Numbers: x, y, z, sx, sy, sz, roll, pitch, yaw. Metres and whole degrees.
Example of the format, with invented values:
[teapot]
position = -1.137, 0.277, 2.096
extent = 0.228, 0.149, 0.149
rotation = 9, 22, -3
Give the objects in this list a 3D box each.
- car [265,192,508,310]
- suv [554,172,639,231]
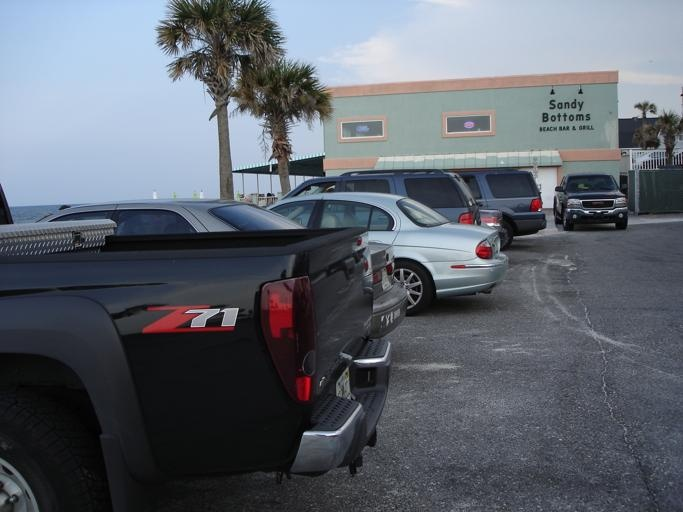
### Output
[car]
position = 0.688, -0.173, 8.037
extent = 3.876, 1.228, 1.745
rotation = 2, 5, 12
[suv]
position = 11.188, -2.588, 22.077
extent = 2.209, 1.694, 3.939
rotation = -3, 0, 8
